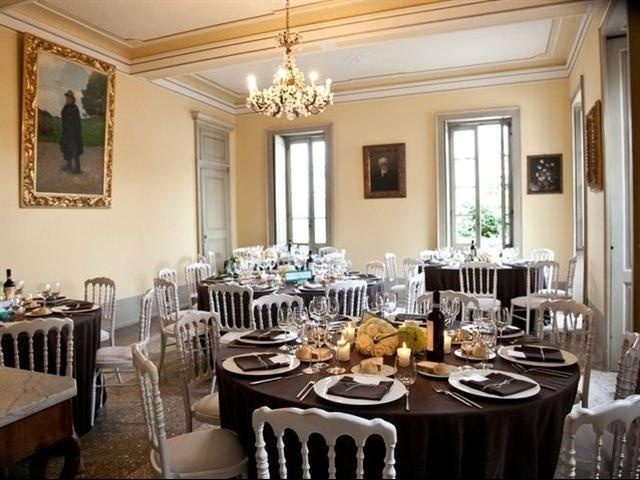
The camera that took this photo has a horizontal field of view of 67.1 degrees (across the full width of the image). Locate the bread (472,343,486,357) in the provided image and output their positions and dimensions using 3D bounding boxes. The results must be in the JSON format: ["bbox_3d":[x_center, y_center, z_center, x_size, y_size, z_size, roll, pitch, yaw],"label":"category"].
[{"bbox_3d":[1.009,0.687,3.018,0.063,0.083,0.146,-4,-1,-2],"label":"bread"}]

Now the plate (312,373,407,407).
[{"bbox_3d":[0.224,0.828,2.688,0.514,0.150,0.317,-4,-1,-5],"label":"plate"}]

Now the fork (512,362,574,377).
[{"bbox_3d":[1.363,0.778,2.911,0.308,0.051,0.046,1,26,17],"label":"fork"}]

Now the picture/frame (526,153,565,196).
[{"bbox_3d":[3.721,-1.094,7.878,0.645,0.859,0.061,0,2,18],"label":"picture/frame"}]

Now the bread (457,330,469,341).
[{"bbox_3d":[0.963,0.643,3.238,0.073,0.063,0.106,-1,7,5],"label":"bread"}]

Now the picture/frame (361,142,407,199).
[{"bbox_3d":[1.197,-1.266,8.679,0.949,1.219,0.113,-1,1,16],"label":"picture/frame"}]

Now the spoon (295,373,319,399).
[{"bbox_3d":[-0.079,0.820,2.742,0.035,0.022,0.255,-2,9,13],"label":"spoon"}]
